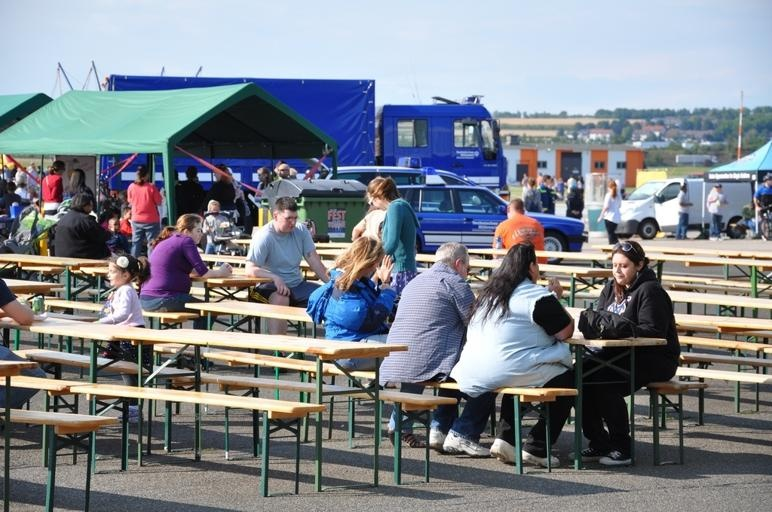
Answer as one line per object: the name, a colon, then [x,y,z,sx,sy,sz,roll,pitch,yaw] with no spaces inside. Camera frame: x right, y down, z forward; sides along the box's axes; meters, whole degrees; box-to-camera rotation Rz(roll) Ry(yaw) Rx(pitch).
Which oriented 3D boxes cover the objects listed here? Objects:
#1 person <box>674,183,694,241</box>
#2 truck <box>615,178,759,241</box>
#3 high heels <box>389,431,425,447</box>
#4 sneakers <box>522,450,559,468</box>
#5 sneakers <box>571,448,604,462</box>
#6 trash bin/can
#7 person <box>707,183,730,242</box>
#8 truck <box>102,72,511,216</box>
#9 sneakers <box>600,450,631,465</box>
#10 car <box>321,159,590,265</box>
person: [7.273,-1.134,39.893,0.353,1.136,1.471,1,1,10]
truck: [7.415,-1.171,41.089,2.926,1.281,1.596,0,-1,-8]
high heels: [0.287,2.237,19.864,0.502,0.201,0.168,-1,0,6]
sneakers: [1.812,2.422,19.338,0.493,0.190,0.175,3,-6,-6]
sneakers: [2.419,2.391,19.469,0.427,0.163,0.153,4,-6,-7]
trash bin/can: [-1.274,-0.875,28.386,1.477,1.037,1.174,-3,7,-18]
person: [8.091,-1.076,40.002,0.461,1.066,1.284,1,1,11]
truck: [-1.542,-2.878,36.784,10.369,4.499,3.201,-3,7,-15]
sneakers: [2.726,2.414,19.426,0.353,0.133,0.153,4,-2,-6]
car: [1.502,-0.812,32.230,4.720,1.589,2.102,-2,3,-10]
